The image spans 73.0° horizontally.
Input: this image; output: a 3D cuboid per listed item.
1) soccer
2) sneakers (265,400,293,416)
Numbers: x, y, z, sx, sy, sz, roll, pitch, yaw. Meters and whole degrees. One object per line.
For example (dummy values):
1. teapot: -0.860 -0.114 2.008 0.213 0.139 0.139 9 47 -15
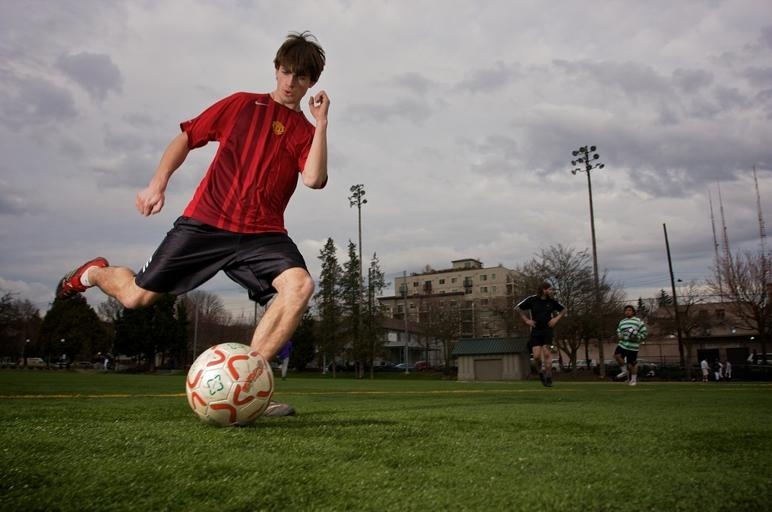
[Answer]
1. soccer: -1.249 1.027 4.294 0.686 0.647 0.618 5 -25 -18
2. sneakers: -0.980 1.344 4.570 0.309 0.124 0.111 -9 -11 24
